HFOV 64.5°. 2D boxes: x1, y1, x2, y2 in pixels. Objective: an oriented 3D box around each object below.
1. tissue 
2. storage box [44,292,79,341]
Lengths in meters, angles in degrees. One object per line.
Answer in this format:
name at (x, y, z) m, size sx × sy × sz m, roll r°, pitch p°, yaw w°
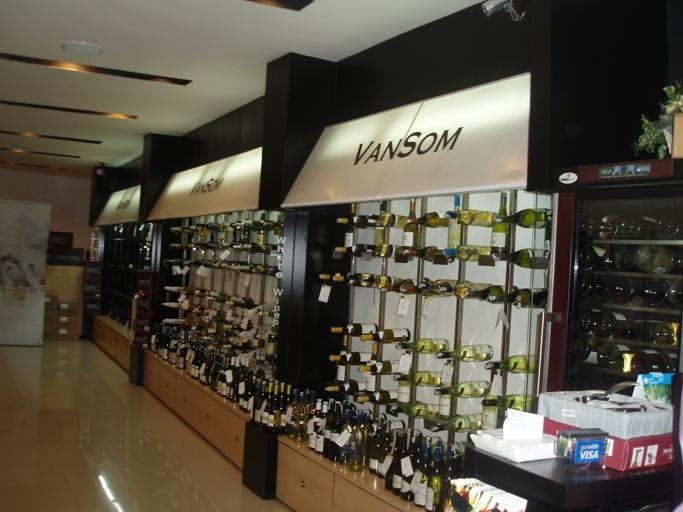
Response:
tissue  at (0.684, 0.649, 2.092) m, size 0.208 × 0.133 × 0.209 m, roll 4°, pitch -4°, yaw -34°
storage box at (-5.597, 1.207, 10.780) m, size 0.712 × 0.865 × 0.242 m, roll 2°, pitch -3°, yaw 2°
